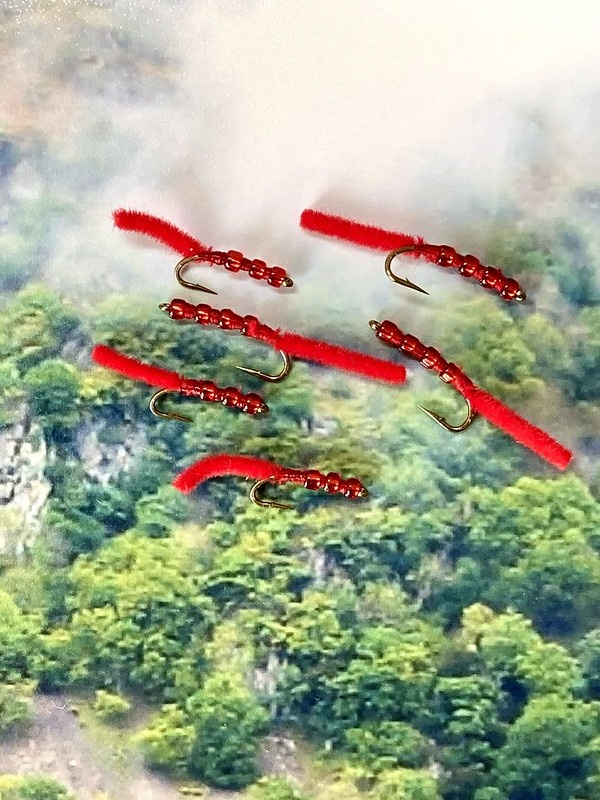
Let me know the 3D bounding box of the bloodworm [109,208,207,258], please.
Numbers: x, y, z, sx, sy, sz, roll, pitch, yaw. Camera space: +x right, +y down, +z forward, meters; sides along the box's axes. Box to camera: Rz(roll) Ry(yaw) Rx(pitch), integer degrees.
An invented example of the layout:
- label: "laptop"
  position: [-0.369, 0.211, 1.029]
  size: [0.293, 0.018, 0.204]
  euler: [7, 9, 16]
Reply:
- label: "bloodworm"
  position: [-0.358, -0.418, 3.195]
  size: [0.227, 0.056, 0.049]
  euler: [23, 35, 17]

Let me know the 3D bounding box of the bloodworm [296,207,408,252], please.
- label: "bloodworm"
  position: [0.141, -0.428, 3.169]
  size: [0.279, 0.063, 0.062]
  euler: [16, 1, 5]

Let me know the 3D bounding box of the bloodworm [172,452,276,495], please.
- label: "bloodworm"
  position: [-0.186, 0.171, 3.030]
  size: [0.286, 0.085, 0.076]
  euler: [-3, -13, 10]
